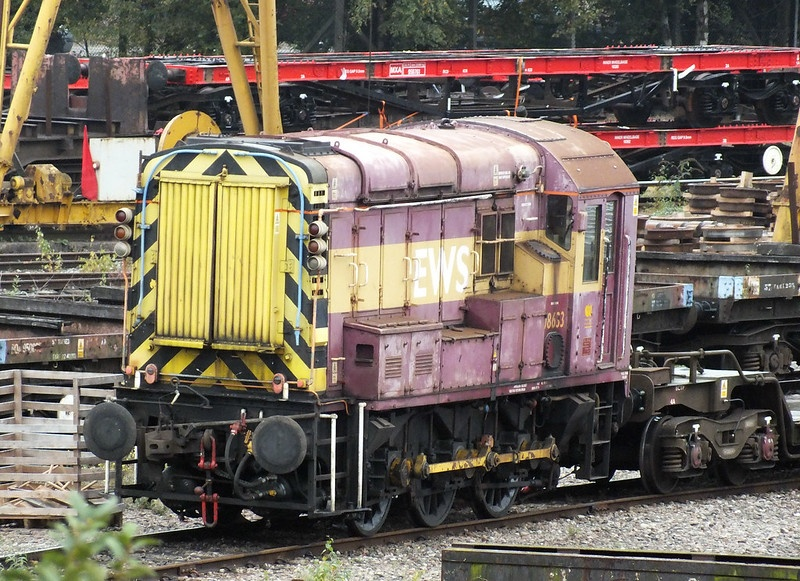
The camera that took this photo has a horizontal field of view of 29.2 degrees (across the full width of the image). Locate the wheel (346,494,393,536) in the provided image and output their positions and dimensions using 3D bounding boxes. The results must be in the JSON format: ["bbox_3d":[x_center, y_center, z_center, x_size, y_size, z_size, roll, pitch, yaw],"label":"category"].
[{"bbox_3d":[-0.469,3.018,20.735,0.114,0.594,0.648,-3,-2,43],"label":"wheel"}]

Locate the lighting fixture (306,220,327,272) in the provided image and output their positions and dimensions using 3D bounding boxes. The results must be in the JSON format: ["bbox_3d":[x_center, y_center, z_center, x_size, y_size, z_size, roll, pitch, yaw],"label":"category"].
[{"bbox_3d":[-1.097,-0.559,20.133,0.322,0.695,0.230,-6,4,-14],"label":"lighting fixture"}]

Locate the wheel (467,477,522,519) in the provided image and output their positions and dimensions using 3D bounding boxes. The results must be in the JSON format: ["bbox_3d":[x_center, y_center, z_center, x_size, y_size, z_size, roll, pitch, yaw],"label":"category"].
[{"bbox_3d":[1.280,2.963,22.062,0.569,0.690,0.097,-12,11,-42],"label":"wheel"}]

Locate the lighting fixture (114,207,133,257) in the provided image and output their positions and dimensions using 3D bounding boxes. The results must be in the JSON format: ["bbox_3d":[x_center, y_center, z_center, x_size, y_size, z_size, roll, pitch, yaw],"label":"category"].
[{"bbox_3d":[-3.714,-0.766,20.734,0.217,0.674,0.172,0,0,5],"label":"lighting fixture"}]
